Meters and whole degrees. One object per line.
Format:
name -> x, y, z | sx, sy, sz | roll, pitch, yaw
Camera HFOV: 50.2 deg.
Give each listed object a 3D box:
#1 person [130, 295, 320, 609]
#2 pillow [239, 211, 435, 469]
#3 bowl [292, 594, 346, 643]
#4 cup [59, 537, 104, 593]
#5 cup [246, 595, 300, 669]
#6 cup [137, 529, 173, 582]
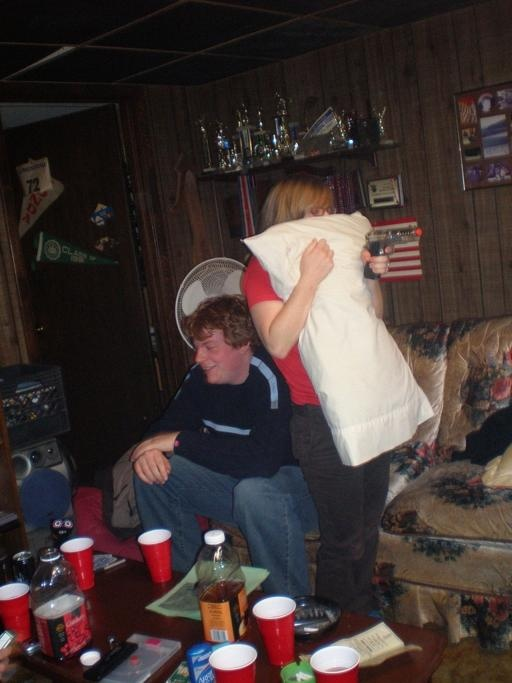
person -> -0.070, 0.383, 1.918 | 0.695, 1.041, 0.634 | -6, 16, -25
pillow -> 0.236, -0.021, 1.447 | 0.339, 0.616, 0.231 | -21, 14, -35
bowl -> 0.133, 0.568, 1.133 | 0.109, 0.031, 0.112 | 2, 10, 0
cup -> -0.454, 0.561, 1.402 | 0.140, 0.127, 0.099 | -5, 6, 33
cup -> 0.041, 0.542, 1.023 | 0.119, 0.094, 0.137 | -1, 12, -15
cup -> -0.253, 0.555, 1.461 | 0.103, 0.129, 0.088 | -3, 3, 39
